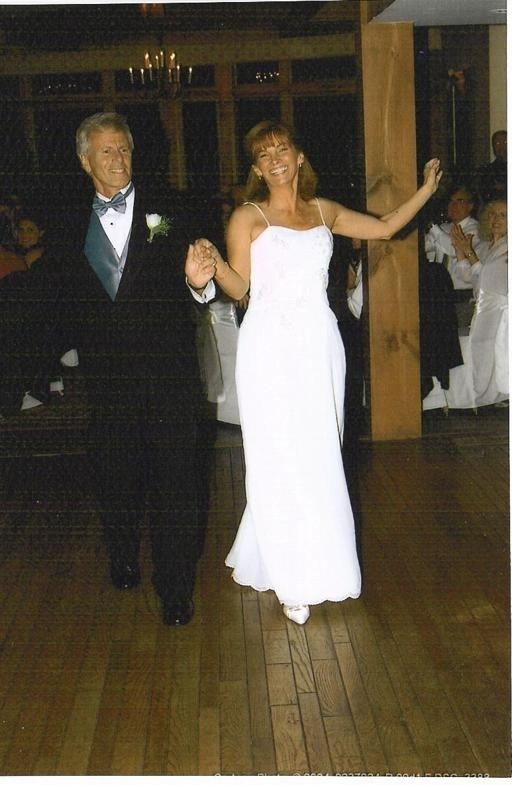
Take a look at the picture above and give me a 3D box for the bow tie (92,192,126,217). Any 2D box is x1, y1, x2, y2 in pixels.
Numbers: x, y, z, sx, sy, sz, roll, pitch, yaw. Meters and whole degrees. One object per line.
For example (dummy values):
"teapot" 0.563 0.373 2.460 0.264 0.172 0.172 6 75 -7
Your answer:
"bow tie" -0.401 -0.511 2.021 0.067 0.050 0.008 0 6 7
